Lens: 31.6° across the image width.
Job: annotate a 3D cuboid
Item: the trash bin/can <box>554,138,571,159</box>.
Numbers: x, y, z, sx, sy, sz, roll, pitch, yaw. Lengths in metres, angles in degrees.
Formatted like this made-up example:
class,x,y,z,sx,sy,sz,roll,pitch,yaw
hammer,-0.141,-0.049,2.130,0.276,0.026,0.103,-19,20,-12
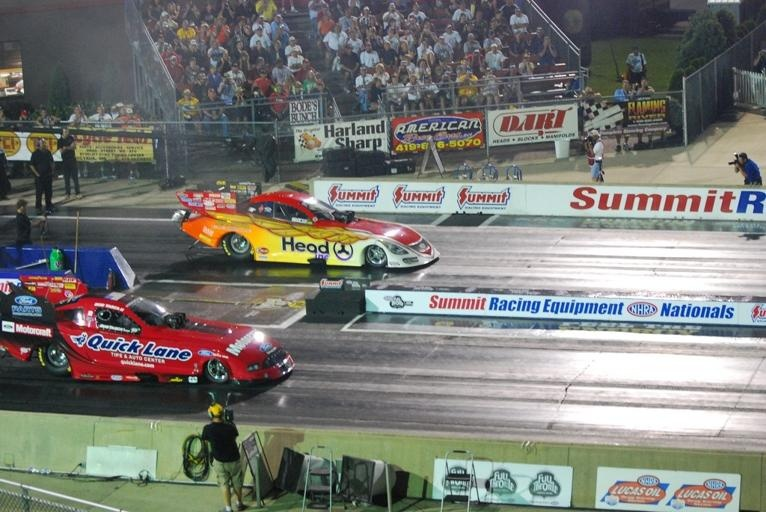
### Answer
class,x,y,z,sx,sy,sz,roll,pitch,yaw
trash bin/can,7.287,-4.286,54.549,0.579,0.807,0.387,-1,7,3

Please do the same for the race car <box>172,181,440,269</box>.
class,x,y,z,sx,sy,sz,roll,pitch,yaw
race car,-2.430,-0.859,45.743,8.217,2.281,3.167,2,17,9

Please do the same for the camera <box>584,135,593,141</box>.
class,x,y,z,sx,sy,sz,roll,pitch,yaw
camera,7.756,-4.392,50.659,0.340,0.320,0.081,5,-28,12
